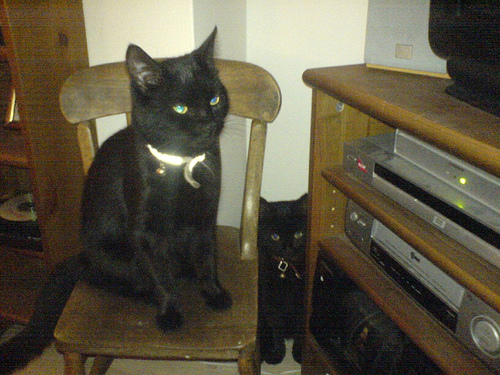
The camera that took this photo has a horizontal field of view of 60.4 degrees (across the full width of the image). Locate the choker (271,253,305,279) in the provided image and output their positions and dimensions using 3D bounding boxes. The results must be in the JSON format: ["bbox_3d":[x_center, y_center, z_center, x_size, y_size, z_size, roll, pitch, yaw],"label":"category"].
[{"bbox_3d":[0.114,0.262,1.477,0.082,0.022,0.083,35,52,2],"label":"choker"}]

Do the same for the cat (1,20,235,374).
[{"bbox_3d":[-0.356,0.084,1.148,0.648,0.910,0.366,-3,24,-3],"label":"cat"}]

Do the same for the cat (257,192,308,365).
[{"bbox_3d":[0.109,0.328,1.533,0.169,0.516,0.368,1,25,7],"label":"cat"}]
